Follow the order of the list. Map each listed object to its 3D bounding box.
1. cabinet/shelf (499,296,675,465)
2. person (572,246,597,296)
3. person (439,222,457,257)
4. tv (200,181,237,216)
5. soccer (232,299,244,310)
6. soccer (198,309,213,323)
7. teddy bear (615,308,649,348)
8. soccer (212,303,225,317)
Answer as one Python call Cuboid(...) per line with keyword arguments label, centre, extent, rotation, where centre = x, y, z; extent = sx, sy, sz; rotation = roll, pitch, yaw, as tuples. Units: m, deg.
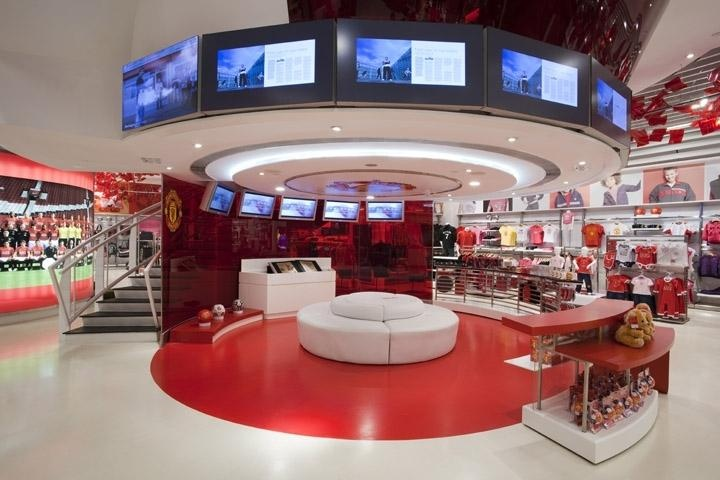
Cuboid(label="cabinet/shelf", centre=(3.746, 1.988, 6.574), extent=(2.951, 1.550, 1.666), rotation=(-3, 2, -40))
Cuboid(label="person", centre=(6.360, 0.865, 11.793), extent=(0.523, 1.288, 1.753), rotation=(-2, -6, 29))
Cuboid(label="person", centre=(3.268, 0.039, 15.526), extent=(0.602, 1.428, 0.339), rotation=(4, 29, 18))
Cuboid(label="tv", centre=(-3.442, -0.999, 9.981), extent=(0.139, 0.463, 0.749), rotation=(12, 1, 14))
Cuboid(label="soccer", centre=(-2.933, 1.542, 10.039), extent=(0.205, 0.254, 0.230), rotation=(0, 19, -8))
Cuboid(label="soccer", centre=(-3.368, 1.653, 9.083), extent=(0.254, 0.193, 0.253), rotation=(1, -3, -25))
Cuboid(label="teddy bear", centre=(4.015, 1.287, 6.138), extent=(0.445, 0.677, 0.694), rotation=(4, -4, 23))
Cuboid(label="soccer", centre=(-3.201, 1.585, 9.461), extent=(0.233, 0.245, 0.263), rotation=(2, -6, -20))
